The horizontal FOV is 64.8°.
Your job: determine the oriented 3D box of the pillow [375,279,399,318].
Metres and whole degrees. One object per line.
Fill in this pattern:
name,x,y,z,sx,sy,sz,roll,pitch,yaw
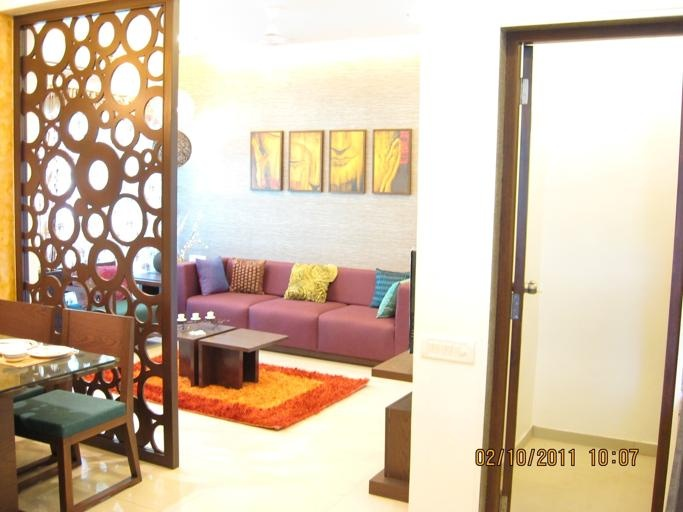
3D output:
pillow,0.437,0.424,5.845,0.182,0.304,0.332,11,-4,-41

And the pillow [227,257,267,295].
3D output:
pillow,-1.183,0.262,6.741,0.423,0.425,0.105,-1,-6,20

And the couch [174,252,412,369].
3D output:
couch,-0.469,0.615,6.378,2.891,0.989,0.942,4,5,23

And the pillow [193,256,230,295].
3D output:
pillow,-1.615,0.262,6.681,0.427,0.437,0.157,-13,-6,-44

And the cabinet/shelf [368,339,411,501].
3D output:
cabinet/shelf,0.311,1.105,3.409,0.259,0.852,0.557,3,10,5

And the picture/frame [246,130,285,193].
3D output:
picture/frame,-0.949,-1.211,6.902,0.729,1.100,0.080,5,8,30

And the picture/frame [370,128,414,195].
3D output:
picture/frame,0.601,-1.090,6.251,0.487,0.739,0.093,7,11,26

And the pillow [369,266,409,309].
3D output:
pillow,0.510,0.447,5.962,0.102,0.320,0.327,37,-32,-28

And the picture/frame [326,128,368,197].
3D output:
picture/frame,0.082,-1.129,6.461,0.455,0.727,0.076,6,11,23

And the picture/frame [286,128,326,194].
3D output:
picture/frame,-0.435,-1.158,6.682,0.493,0.755,0.101,6,11,22
